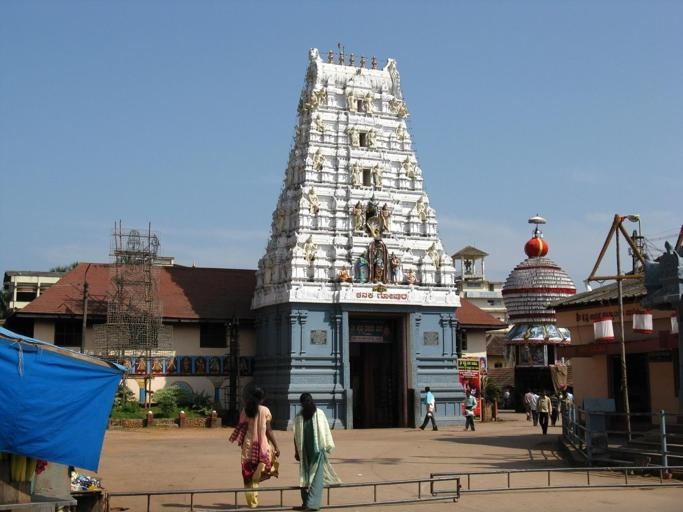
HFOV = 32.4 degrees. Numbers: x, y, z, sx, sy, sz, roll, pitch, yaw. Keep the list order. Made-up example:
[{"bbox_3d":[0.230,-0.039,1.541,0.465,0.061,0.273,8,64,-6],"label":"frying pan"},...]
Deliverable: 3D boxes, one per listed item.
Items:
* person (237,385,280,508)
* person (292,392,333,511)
[{"bbox_3d":[-1.989,4.261,27.851,0.935,2.320,0.497,1,-14,-5],"label":"person"},{"bbox_3d":[-0.662,4.575,27.833,0.890,2.796,0.679,0,-14,-1],"label":"person"}]
